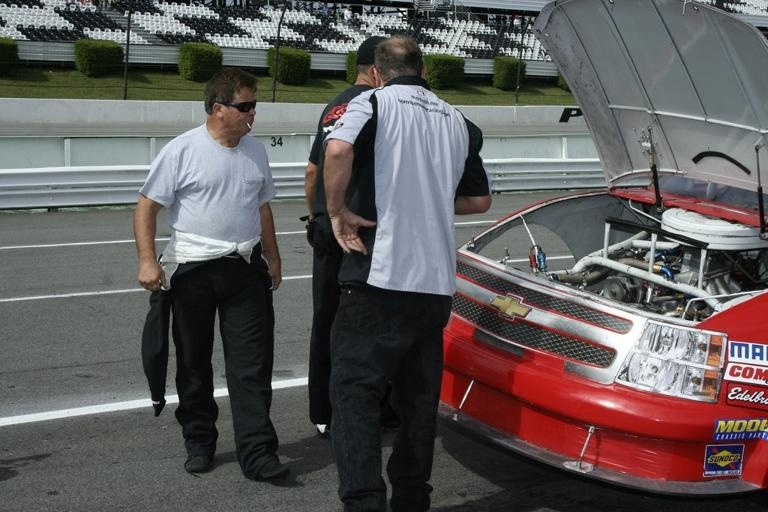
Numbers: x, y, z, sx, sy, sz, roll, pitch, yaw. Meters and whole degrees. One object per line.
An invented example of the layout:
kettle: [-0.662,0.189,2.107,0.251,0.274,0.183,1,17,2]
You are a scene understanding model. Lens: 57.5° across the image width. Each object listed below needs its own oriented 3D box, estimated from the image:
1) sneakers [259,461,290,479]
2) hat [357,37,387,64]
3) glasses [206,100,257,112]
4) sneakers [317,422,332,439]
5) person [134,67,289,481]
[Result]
sneakers: [-0.717,1.392,4.519,0.107,0.069,0.189,6,-19,-41]
hat: [-0.064,-1.402,4.661,0.223,0.127,0.163,-38,45,-23]
glasses: [-0.962,-0.989,4.564,0.172,0.047,0.159,-7,15,-3]
sneakers: [-0.443,1.258,5.106,0.135,0.116,0.116,-3,10,-12]
person: [-1.068,0.125,4.612,0.970,2.590,1.112,-13,26,-39]
